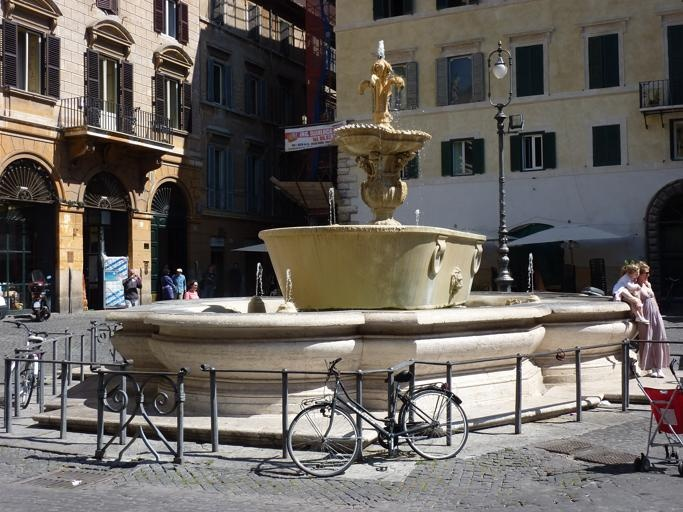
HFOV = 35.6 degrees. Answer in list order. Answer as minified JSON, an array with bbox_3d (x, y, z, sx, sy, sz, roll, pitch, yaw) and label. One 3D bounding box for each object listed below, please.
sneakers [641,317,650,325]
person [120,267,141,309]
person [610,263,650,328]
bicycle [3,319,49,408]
[{"bbox_3d":[6.008,1.297,21.269,0.244,0.095,0.082,6,7,38],"label":"sneakers"},{"bbox_3d":[-6.726,1.083,34.476,0.509,1.381,1.801,-4,14,-13],"label":"person"},{"bbox_3d":[5.803,0.790,21.471,0.690,1.100,0.908,0,14,4],"label":"person"},{"bbox_3d":[-5.712,1.960,19.775,0.823,1.172,1.999,11,-12,-8],"label":"bicycle"}]
